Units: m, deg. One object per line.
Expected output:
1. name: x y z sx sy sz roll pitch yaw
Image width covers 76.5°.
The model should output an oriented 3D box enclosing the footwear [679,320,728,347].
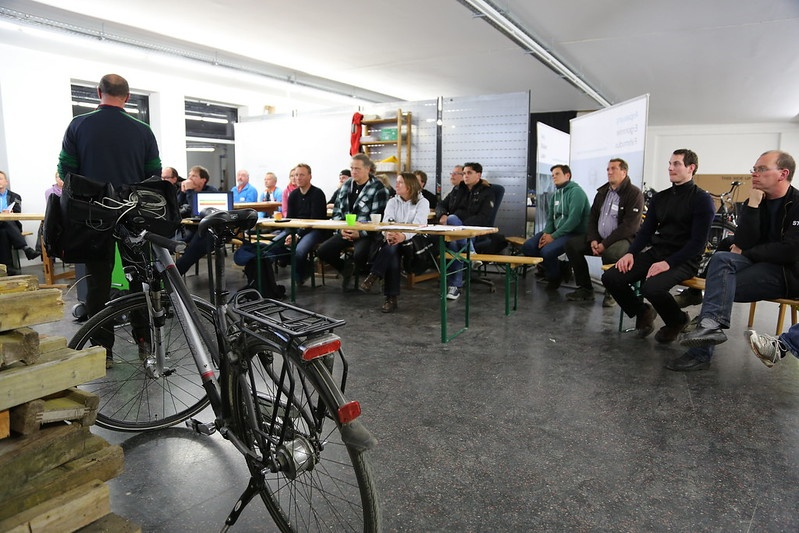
1. footwear: 2.176 0.496 3.709 0.398 0.198 0.166 -8 -26 21

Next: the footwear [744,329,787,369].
1. footwear: 2.666 0.613 3.694 0.291 0.132 0.132 42 17 -6

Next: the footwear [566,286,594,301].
1. footwear: 2.070 0.312 5.752 0.321 0.154 0.135 2 0 2

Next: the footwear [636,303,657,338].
1. footwear: 2.205 0.470 4.505 0.153 0.354 0.121 -2 15 6

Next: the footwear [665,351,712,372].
1. footwear: 2.183 0.730 3.886 0.374 0.166 0.134 0 -3 1
